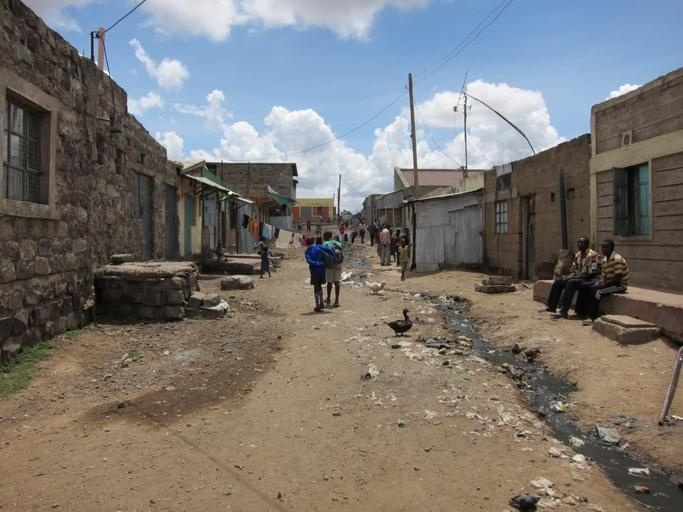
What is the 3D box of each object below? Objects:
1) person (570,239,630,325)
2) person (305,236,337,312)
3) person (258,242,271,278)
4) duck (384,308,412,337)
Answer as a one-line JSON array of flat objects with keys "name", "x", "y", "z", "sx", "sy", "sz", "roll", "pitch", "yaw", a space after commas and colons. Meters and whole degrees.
[{"name": "person", "x": 4.921, "y": 0.473, "z": 9.675, "sx": 0.893, "sy": 1.546, "sz": 0.574, "roll": 7, "pitch": 9, "yaw": 39}, {"name": "person", "x": -0.553, "y": 0.419, "z": 11.926, "sx": 0.662, "sy": 1.668, "sz": 0.728, "roll": -1, "pitch": 7, "yaw": -18}, {"name": "person", "x": -2.750, "y": 0.115, "z": 18.492, "sx": 0.377, "sy": 1.128, "sz": 1.934, "roll": 0, "pitch": 7, "yaw": -9}, {"name": "duck", "x": 1.079, "y": 1.276, "z": 9.611, "sx": 0.563, "sy": 0.532, "sz": 0.324, "roll": -4, "pitch": 2, "yaw": 5}]
